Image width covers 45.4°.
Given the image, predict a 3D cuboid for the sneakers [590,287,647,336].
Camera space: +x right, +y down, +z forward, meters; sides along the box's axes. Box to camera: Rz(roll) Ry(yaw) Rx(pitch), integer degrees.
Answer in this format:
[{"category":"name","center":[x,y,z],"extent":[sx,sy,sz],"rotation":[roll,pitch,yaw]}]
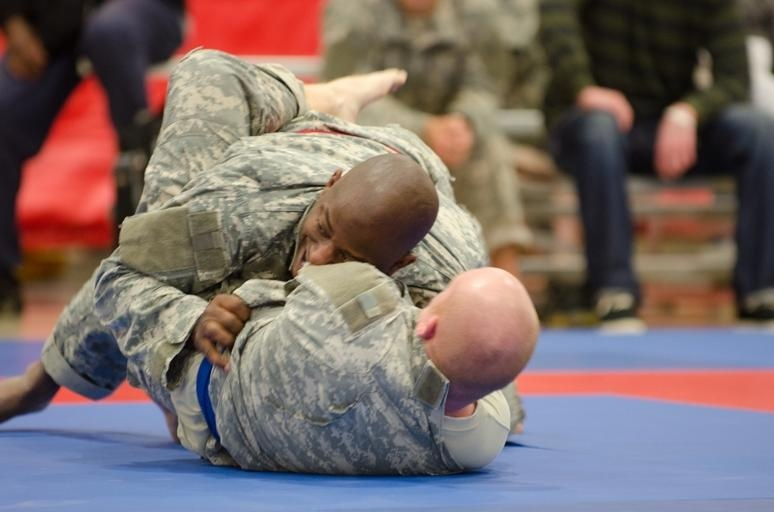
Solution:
[{"category":"sneakers","center":[1.183,0.300,4.748],"extent":[0.216,0.290,0.280],"rotation":[-15,19,0]}]

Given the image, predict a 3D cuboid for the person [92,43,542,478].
[{"category":"person","center":[-0.200,-0.008,2.660],"extent":[1.103,0.811,1.199],"rotation":[13,63,-14]}]
